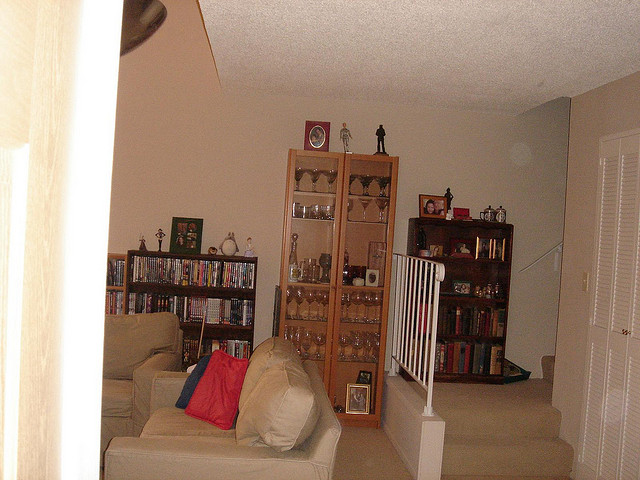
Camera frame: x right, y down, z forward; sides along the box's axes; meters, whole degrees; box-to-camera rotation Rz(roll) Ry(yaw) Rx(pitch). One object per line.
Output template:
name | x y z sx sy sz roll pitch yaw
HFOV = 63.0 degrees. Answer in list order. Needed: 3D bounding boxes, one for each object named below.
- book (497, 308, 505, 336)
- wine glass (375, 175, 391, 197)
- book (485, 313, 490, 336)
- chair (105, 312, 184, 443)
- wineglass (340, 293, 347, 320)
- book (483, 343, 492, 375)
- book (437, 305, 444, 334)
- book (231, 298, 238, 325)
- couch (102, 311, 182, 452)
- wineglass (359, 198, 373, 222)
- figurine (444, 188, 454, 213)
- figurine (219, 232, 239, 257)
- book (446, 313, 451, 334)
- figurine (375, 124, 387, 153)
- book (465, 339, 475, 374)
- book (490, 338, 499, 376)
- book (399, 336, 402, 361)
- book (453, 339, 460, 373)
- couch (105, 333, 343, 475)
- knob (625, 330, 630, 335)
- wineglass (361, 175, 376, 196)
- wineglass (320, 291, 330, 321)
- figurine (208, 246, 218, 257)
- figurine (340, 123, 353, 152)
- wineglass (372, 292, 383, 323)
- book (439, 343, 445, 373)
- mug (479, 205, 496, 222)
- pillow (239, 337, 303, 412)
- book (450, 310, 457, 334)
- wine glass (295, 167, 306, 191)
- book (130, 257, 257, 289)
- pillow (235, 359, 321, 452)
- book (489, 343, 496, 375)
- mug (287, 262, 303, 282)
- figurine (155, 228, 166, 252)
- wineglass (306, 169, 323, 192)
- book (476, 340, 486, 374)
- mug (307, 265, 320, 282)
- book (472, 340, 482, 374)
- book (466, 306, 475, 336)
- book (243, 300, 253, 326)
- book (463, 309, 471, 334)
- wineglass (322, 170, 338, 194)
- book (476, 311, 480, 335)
book | 1.595 0.728 4.602 0.073 0.226 0.231 1 -4 6
wine glass | 0.519 -0.453 4.336 0.140 0.171 0.145 0 -3 -2
book | 1.475 0.742 4.600 0.040 0.192 0.014 2 -4 -10
chair | -1.352 0.913 3.638 0.703 0.698 0.657 0 -9 -2
wineglass | 0.195 0.543 4.310 0.050 0.217 0.021 3 -5 -25
book | 1.480 1.054 4.605 0.041 0.193 0.186 3 0 8
book | 1.065 0.705 4.594 0.049 0.228 0.093 0 -5 19
book | -0.736 0.611 4.471 0.052 0.213 0.024 2 -4 -8
couch | -1.300 0.893 3.668 0.650 0.704 0.686 -1 -12 1
wineglass | 0.364 -0.279 4.356 0.122 0.177 0.120 2 -2 1
figurine | 1.164 -0.369 4.731 0.060 0.239 0.133 0 -5 15
figurine | -0.789 0.035 4.572 0.142 0.204 0.063 0 -8 1
book | 1.130 0.736 4.587 0.026 0.122 0.118 3 0 5
figurine | 0.521 -0.877 4.476 0.077 0.305 0.216 1 -5 7
book | 1.340 1.040 4.614 0.041 0.190 0.179 3 -5 7
book | 1.533 1.060 4.601 0.042 0.198 0.190 3 2 5
book | 0.669 0.892 4.314 0.015 0.196 0.061 1 -4 9
book | 1.199 1.028 4.587 0.042 0.198 0.190 3 -4 6
couch | -0.450 0.819 2.817 1.027 0.513 1.055 2 -6 -4
knob | 1.838 0.550 3.120 0.017 0.026 0.007 2 25 25
wineglass | 0.393 -0.471 4.409 0.135 0.170 0.144 1 -1 4
wineglass | 0.035 0.540 4.306 0.073 0.243 0.026 2 -4 -2
figurine | -0.936 0.095 4.553 0.083 0.064 0.084 18 -3 -4
figurine | 0.230 -0.920 4.607 0.113 0.318 0.300 1 -5 4
wineglass | 0.484 0.557 4.342 0.071 0.250 0.028 0 -4 13
book | 1.068 1.028 4.573 0.039 0.246 0.034 1 -4 0
mug | 1.520 -0.248 4.733 0.131 0.139 0.131 4 7 19
pillow | -0.305 0.829 3.153 0.265 0.378 0.839 16 -4 -10
book | 1.172 0.724 4.588 0.032 0.150 0.141 3 -2 -4
wine glass | -0.166 -0.503 4.278 0.093 0.182 0.055 3 -4 -14
book | -1.069 0.273 4.416 1.045 0.236 0.105 1 -4 1
pillow | -0.299 0.772 2.450 0.205 0.315 0.603 10 -10 -11
book | 1.523 1.054 4.595 0.039 0.180 0.173 3 -1 4
mug | -0.207 0.265 4.294 0.148 0.165 0.091 4 -5 -14
figurine | -1.414 -0.009 4.574 0.093 0.209 0.104 2 -4 -2
wineglass | -0.045 -0.498 4.309 0.129 0.182 0.051 2 -4 -2
book | 1.438 1.035 4.637 0.043 0.200 0.192 3 0 6
mug | -0.050 0.278 4.431 0.115 0.222 0.117 3 -2 1
book | 1.384 1.037 4.651 0.070 0.286 0.130 2 -4 -6
book | 1.323 0.718 4.597 0.075 0.210 0.217 2 2 3
book | -0.610 0.620 4.468 0.094 0.218 0.054 0 -4 19
book | 1.288 0.717 4.592 0.065 0.202 0.204 2 3 4
wineglass | 0.084 -0.523 4.361 0.105 0.128 0.114 0 -5 -5
book | 1.394 0.730 4.606 0.027 0.198 0.015 3 -4 -20
